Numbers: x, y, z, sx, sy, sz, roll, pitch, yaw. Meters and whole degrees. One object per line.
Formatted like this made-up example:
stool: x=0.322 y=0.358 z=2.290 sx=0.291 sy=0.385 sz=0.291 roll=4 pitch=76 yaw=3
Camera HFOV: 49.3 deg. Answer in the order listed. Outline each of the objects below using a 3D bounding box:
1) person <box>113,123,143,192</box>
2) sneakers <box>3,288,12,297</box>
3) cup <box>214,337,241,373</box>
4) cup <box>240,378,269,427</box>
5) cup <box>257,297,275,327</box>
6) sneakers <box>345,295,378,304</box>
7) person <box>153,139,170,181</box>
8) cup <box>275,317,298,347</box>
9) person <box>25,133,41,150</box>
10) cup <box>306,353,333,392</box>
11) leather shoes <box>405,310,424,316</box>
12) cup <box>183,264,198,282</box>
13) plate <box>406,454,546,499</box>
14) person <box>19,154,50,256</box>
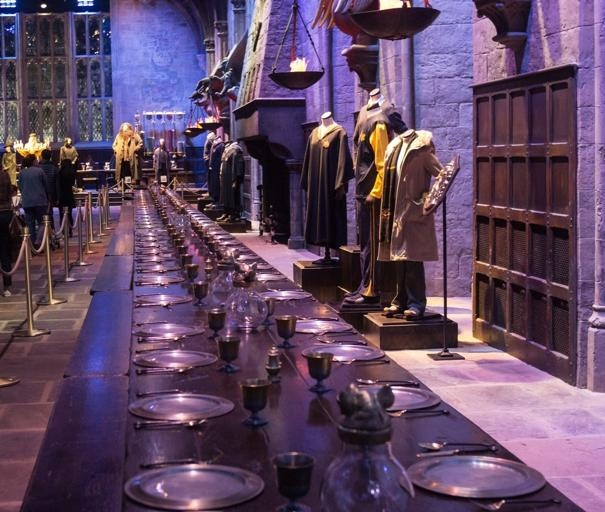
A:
person: x=-6.732 y=-3.855 z=25.333 sx=1.033 sy=2.337 sz=0.940 roll=-2 pitch=8 yaw=-3
sneakers: x=-4.008 y=0.512 z=8.999 sx=0.084 sy=0.095 sz=0.235 roll=0 pitch=-3 yaw=-22
cup: x=-0.272 y=0.377 z=2.499 sx=0.118 sy=0.165 sz=0.121 roll=0 pitch=-3 yaw=0
cup: x=-0.134 y=0.418 z=1.901 sx=0.114 sy=0.150 sz=0.117 roll=0 pitch=0 yaw=0
cup: x=-0.166 y=0.271 z=3.241 sx=0.102 sy=0.157 sz=0.111 roll=0 pitch=-6 yaw=0
sneakers: x=0.616 y=0.466 z=6.885 sx=0.334 sy=0.151 sz=0.125 roll=5 pitch=-6 yaw=-2
person: x=-5.072 y=-3.367 z=23.745 sx=0.470 sy=1.472 sz=1.358 roll=-3 pitch=8 yaw=-15
cup: x=-0.070 y=0.333 z=2.869 sx=0.112 sy=0.163 sz=0.116 roll=0 pitch=-1 yaw=0
person: x=-10.728 y=-4.548 z=26.338 sx=0.612 sy=0.661 sz=2.151 roll=-5 pitch=8 yaw=-21
cup: x=0.057 y=0.390 z=2.213 sx=0.114 sy=0.161 sz=0.119 roll=0 pitch=-4 yaw=0
leather shoes: x=1.023 y=0.536 z=6.033 sx=0.151 sy=0.068 sz=0.062 roll=5 pitch=-7 yaw=-18
cup: x=-0.725 y=0.120 z=4.389 sx=0.110 sy=0.156 sz=0.115 roll=1 pitch=-2 yaw=0
plate: x=0.412 y=0.527 z=1.573 sx=0.321 sy=0.029 sz=0.253 roll=1 pitch=8 yaw=16
person: x=-4.807 y=-0.966 z=11.860 sx=0.494 sy=1.635 sz=1.742 roll=-5 pitch=8 yaw=-22
